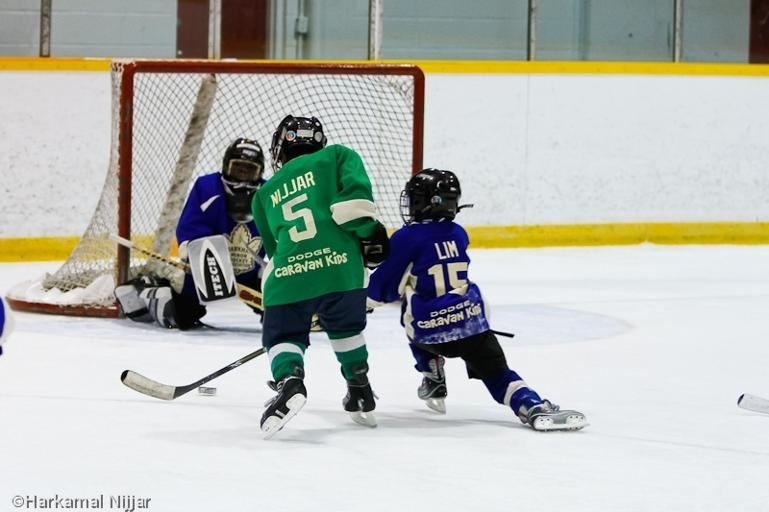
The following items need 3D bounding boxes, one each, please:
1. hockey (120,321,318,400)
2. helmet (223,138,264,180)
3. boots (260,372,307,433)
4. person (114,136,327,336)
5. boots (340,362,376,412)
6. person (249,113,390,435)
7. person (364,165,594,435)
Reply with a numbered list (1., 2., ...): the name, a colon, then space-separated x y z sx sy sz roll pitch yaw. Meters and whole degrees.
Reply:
1. hockey: -0.835 0.517 4.383 0.643 0.168 0.411 -6 12 -35
2. helmet: -0.817 -0.520 5.567 0.216 0.250 0.246 12 -12 -11
3. boots: -0.425 0.632 4.052 0.162 0.218 0.076 29 -12 49
4. person: -0.881 -0.126 5.581 1.282 1.047 0.765 6 14 -6
5. boots: -0.115 0.579 4.174 0.121 0.163 0.242 -2 0 -5
6. person: -0.280 0.064 4.198 0.592 1.292 0.742 -1 15 -8
7. person: 0.432 0.164 4.387 0.684 1.051 1.513 -5 10 -30
